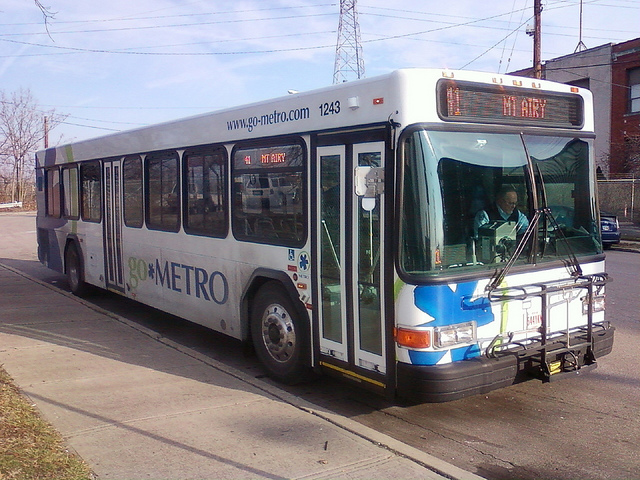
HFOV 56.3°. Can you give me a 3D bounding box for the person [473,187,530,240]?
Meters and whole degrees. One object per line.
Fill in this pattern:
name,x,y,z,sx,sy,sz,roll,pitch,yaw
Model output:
person,2.017,-0.186,6.690,0.610,0.765,0.429,9,-10,-36
